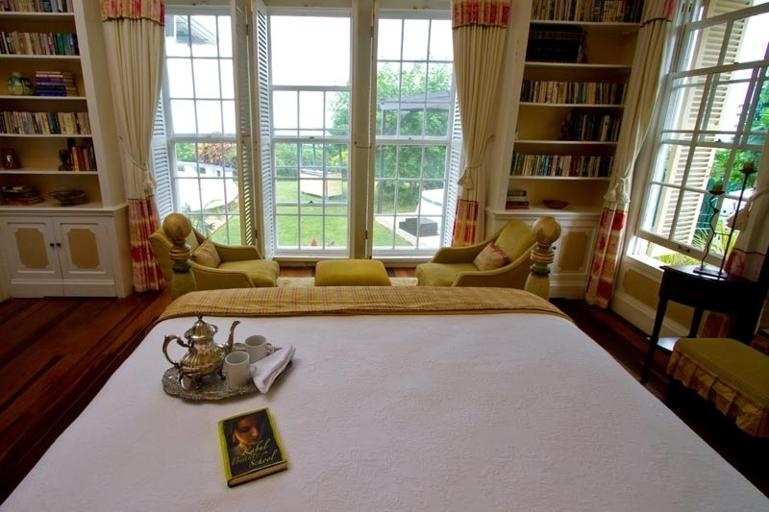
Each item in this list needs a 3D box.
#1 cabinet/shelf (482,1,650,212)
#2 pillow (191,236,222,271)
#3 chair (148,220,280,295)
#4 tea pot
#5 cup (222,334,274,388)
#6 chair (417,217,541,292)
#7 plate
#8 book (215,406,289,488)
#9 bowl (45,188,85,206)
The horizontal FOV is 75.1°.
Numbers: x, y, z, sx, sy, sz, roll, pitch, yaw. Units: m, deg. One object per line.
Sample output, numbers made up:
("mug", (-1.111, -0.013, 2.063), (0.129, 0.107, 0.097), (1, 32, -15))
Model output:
("cabinet/shelf", (1.771, -1.474, 4.992), (1.439, 2.032, 0.463), (-4, 18, -10))
("pillow", (-1.563, -0.013, 4.383), (0.089, 0.184, 0.290), (-25, 16, 5))
("chair", (-1.451, 0.056, 4.485), (0.913, 0.951, 0.668), (-5, 27, -10))
("tea pot", (-1.038, 0.549, 2.842), (0.329, 0.288, 0.190), (-8, 9, -36))
("cup", (-0.802, 0.592, 2.820), (0.171, 0.255, 0.332), (5, 7, 33))
("chair", (0.803, 0.050, 4.478), (0.860, 0.905, 0.661), (2, 26, 0))
("plate", (-0.823, 0.704, 2.762), (0.412, 0.051, 0.357), (-13, 24, -38))
("book", (-0.657, 0.962, 2.516), (0.296, 0.231, 0.279), (-6, 18, -17))
("bowl", (-3.078, -0.576, 4.847), (0.267, 0.096, 0.240), (-8, 20, -31))
